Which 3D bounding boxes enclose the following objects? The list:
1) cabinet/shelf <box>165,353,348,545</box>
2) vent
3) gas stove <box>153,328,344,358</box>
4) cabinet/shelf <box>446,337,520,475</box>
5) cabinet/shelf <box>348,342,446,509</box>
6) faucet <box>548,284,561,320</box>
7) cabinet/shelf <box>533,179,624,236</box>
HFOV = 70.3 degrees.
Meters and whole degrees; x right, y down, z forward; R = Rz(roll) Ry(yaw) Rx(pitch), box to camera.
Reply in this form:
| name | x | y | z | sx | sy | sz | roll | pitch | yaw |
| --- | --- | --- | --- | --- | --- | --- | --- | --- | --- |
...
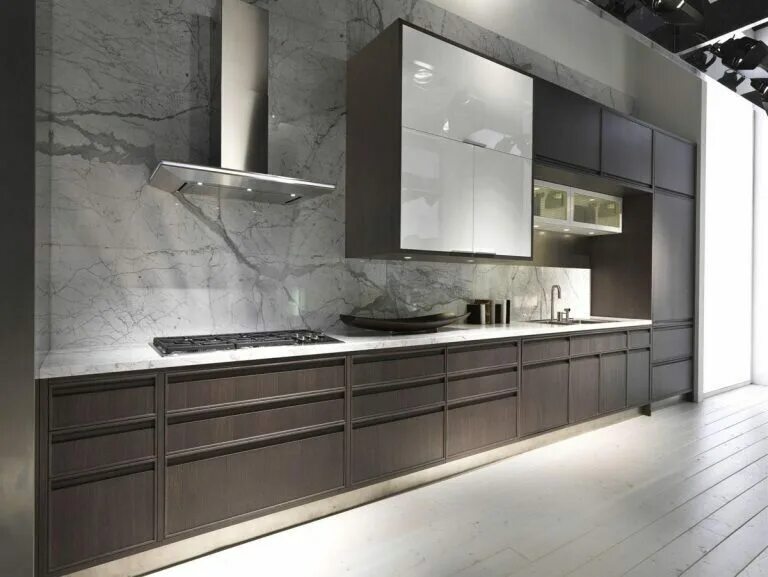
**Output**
| name | x | y | z | sx | sy | sz | roll | pitch | yaw |
| --- | --- | --- | --- | --- | --- | --- | --- | --- | --- |
| cabinet/shelf | -0.862 | 0.877 | 3.402 | 1.165 | 0.877 | 0.631 | 1 | -3 | -37 |
| vent | -0.895 | -1.173 | 3.374 | 1.030 | 1.275 | 0.556 | -5 | 9 | -31 |
| gas stove | -0.863 | 0.312 | 3.367 | 1.029 | 0.070 | 0.558 | -4 | 8 | -26 |
| cabinet/shelf | 0.614 | 0.816 | 4.192 | 0.794 | 0.776 | 0.436 | -2 | 2 | -38 |
| cabinet/shelf | -0.020 | 0.831 | 3.808 | 0.857 | 0.836 | 0.463 | 0 | 1 | -39 |
| faucet | 1.688 | 0.125 | 5.377 | 0.112 | 0.359 | 0.463 | 2 | 8 | 17 |
| cabinet/shelf | 1.680 | -0.737 | 5.147 | 1.118 | 0.332 | 0.307 | 6 | -4 | -12 |
